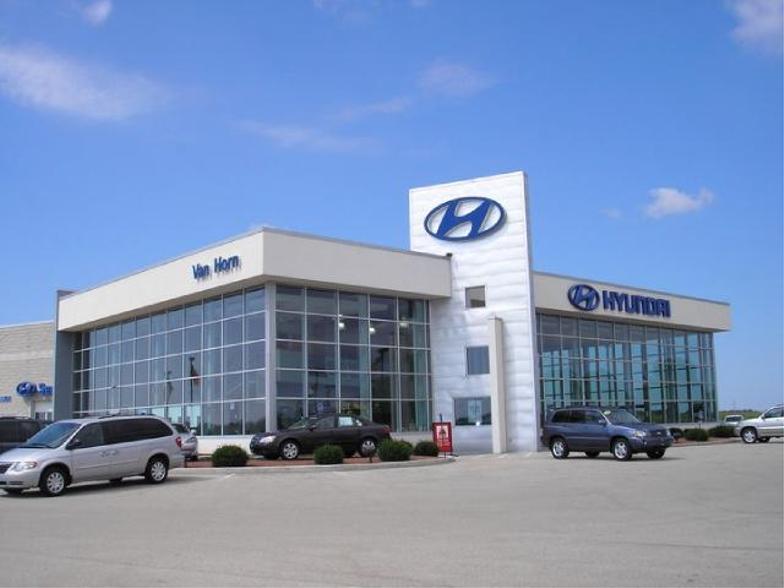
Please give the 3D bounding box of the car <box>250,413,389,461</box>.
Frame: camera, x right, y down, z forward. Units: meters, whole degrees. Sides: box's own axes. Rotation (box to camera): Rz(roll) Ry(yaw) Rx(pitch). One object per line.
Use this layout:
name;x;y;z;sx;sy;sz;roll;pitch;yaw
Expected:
car;-2.629;5.366;26.139;4.624;1.406;2.020;4;-11;-21

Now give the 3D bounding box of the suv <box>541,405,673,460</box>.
suv;7.998;5.342;26.511;1.735;2.043;4.159;9;-18;-40
